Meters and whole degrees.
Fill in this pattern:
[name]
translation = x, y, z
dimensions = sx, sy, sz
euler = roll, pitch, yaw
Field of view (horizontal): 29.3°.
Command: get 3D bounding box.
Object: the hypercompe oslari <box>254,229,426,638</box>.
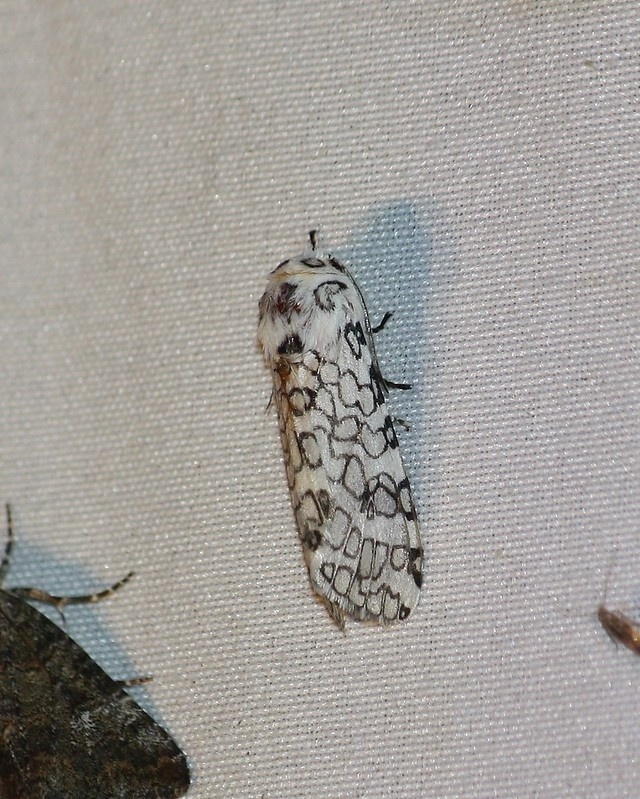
[hypercompe oslari]
translation = 0.032, 0.075, 1.924
dimensions = 0.203, 0.122, 0.658
euler = -4, 95, 21
